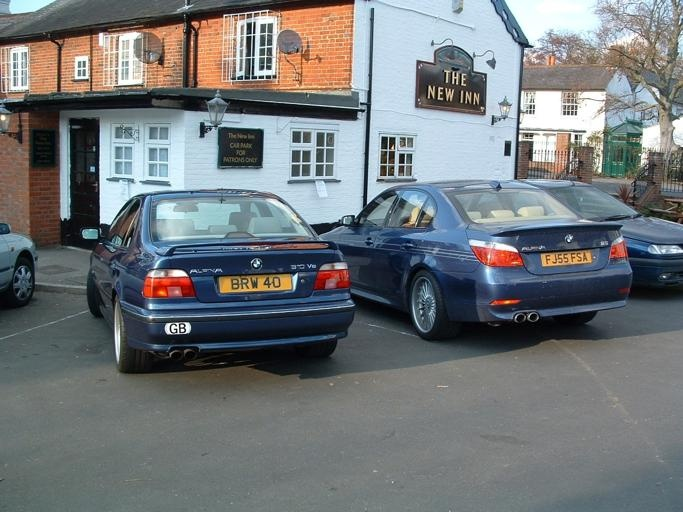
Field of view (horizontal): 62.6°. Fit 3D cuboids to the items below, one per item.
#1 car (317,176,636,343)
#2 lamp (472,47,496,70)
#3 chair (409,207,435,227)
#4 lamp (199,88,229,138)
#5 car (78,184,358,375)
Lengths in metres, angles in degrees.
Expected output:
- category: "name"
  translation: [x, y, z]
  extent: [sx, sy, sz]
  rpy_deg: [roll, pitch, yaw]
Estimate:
- category: "car"
  translation: [1.689, -0.008, 7.364]
  extent: [1.803, 1.977, 3.134]
  rpy_deg: [-7, 10, -39]
- category: "lamp"
  translation: [5.241, -7.246, 20.390]
  extent: [1.378, 0.710, 0.239]
  rpy_deg: [-7, 12, -44]
- category: "chair"
  translation: [1.050, -0.513, 7.374]
  extent: [0.125, 0.198, 0.331]
  rpy_deg: [12, -6, -39]
- category: "lamp"
  translation: [-2.953, -3.240, 12.695]
  extent: [0.608, 1.040, 1.028]
  rpy_deg: [-2, 9, -13]
- category: "car"
  translation: [-1.740, 0.049, 6.890]
  extent: [2.467, 1.340, 4.021]
  rpy_deg: [-3, 11, -28]
